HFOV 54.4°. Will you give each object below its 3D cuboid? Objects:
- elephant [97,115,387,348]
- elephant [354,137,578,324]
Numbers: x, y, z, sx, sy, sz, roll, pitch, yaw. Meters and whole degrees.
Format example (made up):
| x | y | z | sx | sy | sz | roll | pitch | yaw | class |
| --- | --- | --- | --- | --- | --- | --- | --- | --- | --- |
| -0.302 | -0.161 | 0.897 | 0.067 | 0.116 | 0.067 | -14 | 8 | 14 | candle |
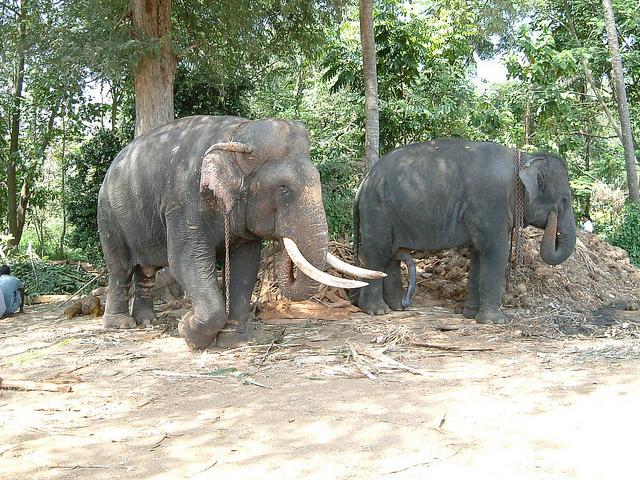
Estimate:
| x | y | z | sx | sy | sz | roll | pitch | yaw | class |
| --- | --- | --- | --- | --- | --- | --- | --- | --- | --- |
| -1.103 | 0.004 | 6.800 | 3.781 | 2.449 | 1.631 | 5 | 12 | 34 | elephant |
| 1.922 | -0.133 | 8.334 | 3.042 | 2.228 | 1.370 | 1 | 6 | 7 | elephant |
